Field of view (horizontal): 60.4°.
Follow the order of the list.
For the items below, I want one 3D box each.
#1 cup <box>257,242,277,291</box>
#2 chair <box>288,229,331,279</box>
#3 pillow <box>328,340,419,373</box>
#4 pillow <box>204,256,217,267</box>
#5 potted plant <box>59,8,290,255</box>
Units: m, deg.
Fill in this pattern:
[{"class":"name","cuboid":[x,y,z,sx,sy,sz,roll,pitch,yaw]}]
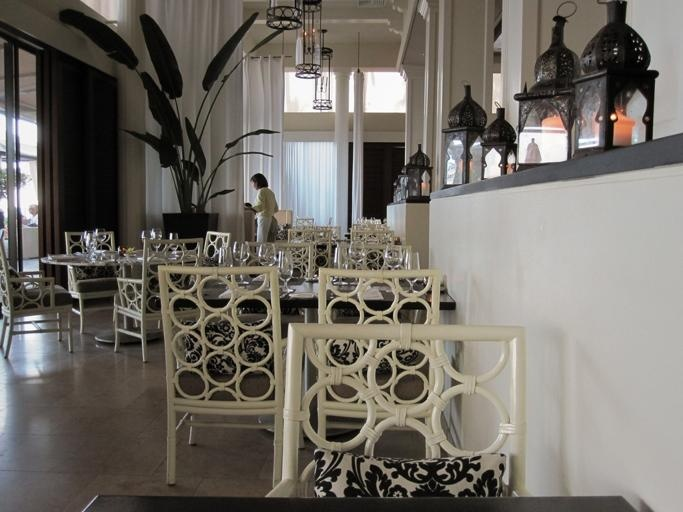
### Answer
[{"class":"cup","cuboid":[-0.391,0.042,3.309,0.133,0.257,0.142,-2,7,0]},{"class":"chair","cuboid":[-0.287,-0.026,5.212,0.321,0.691,0.367,1,18,-2]},{"class":"pillow","cuboid":[0.189,0.561,3.401,0.522,0.187,0.454,1,-23,0]},{"class":"pillow","cuboid":[-1.223,0.051,5.465,0.114,0.042,0.089,3,4,-7]},{"class":"potted plant","cuboid":[-2.606,-1.363,7.972,2.647,3.194,2.524,2,5,30]}]
